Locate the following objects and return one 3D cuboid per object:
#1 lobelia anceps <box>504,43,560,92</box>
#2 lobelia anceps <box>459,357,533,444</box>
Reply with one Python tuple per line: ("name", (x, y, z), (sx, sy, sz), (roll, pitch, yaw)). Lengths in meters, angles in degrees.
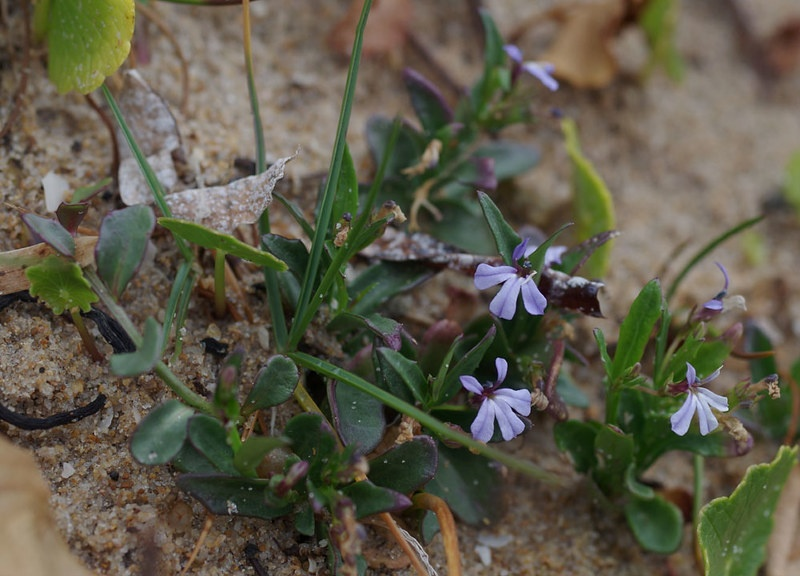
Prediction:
("lobelia anceps", (0.298, -0.517, 1.884), (0.110, 0.144, 0.046), (2, 6, 34))
("lobelia anceps", (0.198, 0.235, 1.717), (0.147, 0.078, 0.206), (0, 49, -16))
